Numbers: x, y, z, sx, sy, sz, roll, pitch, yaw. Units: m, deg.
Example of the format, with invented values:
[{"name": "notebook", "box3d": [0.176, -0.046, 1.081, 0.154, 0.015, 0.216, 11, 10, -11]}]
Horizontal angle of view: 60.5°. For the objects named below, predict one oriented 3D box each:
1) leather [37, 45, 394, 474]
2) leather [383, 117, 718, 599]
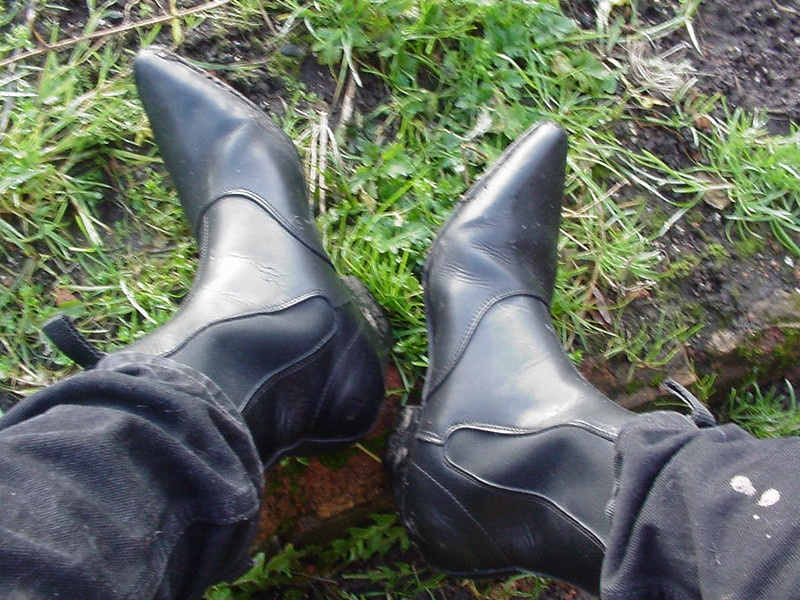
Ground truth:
[{"name": "leather", "box3d": [-0.386, -0.068, 1.368, 0.316, 0.608, 0.827, -37, 82, 12]}, {"name": "leather", "box3d": [0.305, 0.010, 1.433, 0.408, 0.778, 1.019, 22, 71, -23]}]
